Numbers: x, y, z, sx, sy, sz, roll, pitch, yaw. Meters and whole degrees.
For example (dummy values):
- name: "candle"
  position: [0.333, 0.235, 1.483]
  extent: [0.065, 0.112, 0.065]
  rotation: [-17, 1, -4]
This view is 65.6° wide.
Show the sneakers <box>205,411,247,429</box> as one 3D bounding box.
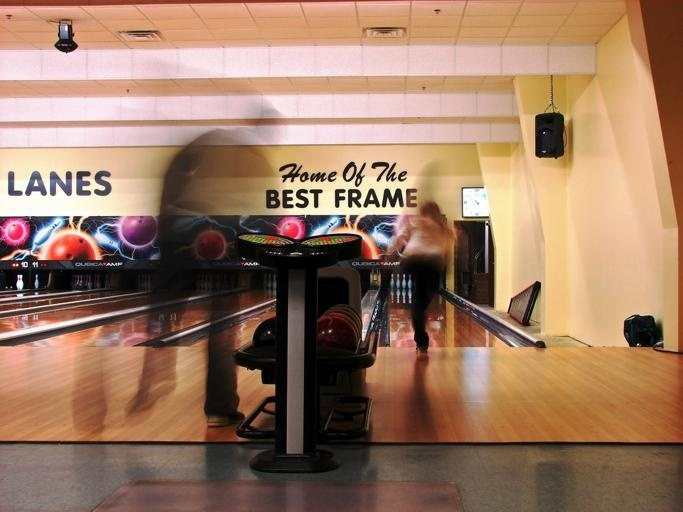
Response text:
- name: "sneakers"
  position: [-0.629, 0.878, 2.868]
  extent: [0.202, 0.074, 0.071]
  rotation: [-1, 2, -27]

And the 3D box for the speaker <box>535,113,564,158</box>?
- name: "speaker"
  position: [2.672, -1.544, 6.648]
  extent: [0.371, 0.544, 0.369]
  rotation: [-14, 20, -19]

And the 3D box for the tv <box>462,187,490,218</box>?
- name: "tv"
  position: [2.571, -1.023, 10.116]
  extent: [0.728, 0.612, 0.068]
  rotation: [1, -3, 1]
